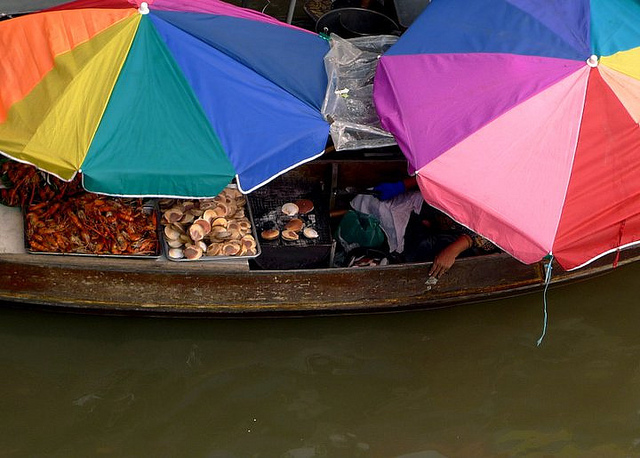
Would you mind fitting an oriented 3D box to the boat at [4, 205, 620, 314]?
[{"bbox_3d":[-0.277,0.264,5.399,4.512,0.622,0.954,0,53,-7],"label":"boat"}]

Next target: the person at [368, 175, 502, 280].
[{"bbox_3d":[1.048,0.019,5.475,0.483,0.510,0.831,-14,19,-2],"label":"person"}]
